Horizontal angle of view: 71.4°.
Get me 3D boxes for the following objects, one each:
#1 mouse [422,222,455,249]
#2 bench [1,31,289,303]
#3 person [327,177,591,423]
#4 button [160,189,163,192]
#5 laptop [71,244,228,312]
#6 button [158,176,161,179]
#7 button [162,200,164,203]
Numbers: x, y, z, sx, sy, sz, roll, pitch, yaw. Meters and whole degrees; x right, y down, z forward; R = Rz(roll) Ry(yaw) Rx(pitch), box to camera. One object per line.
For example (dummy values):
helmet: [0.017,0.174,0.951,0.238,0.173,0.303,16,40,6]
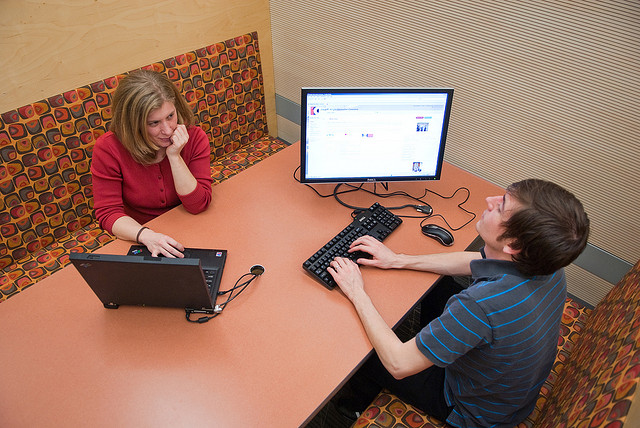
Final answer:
mouse: [0.558,0.094,2.142,0.146,0.050,0.085,39,46,20]
bench: [-0.956,-0.233,2.276,1.523,0.867,0.501,-32,60,-26]
person: [0.560,0.382,1.866,0.637,1.076,0.548,42,52,19]
button: [-0.815,-0.118,2.308,0.014,0.010,0.005,-10,47,-10]
laptop: [-0.661,0.181,1.889,0.486,0.338,0.355,7,48,2]
button: [-0.816,-0.183,2.290,0.019,0.016,0.007,-12,47,-12]
button: [-0.817,-0.062,2.335,0.008,0.019,0.001,-13,47,-12]
